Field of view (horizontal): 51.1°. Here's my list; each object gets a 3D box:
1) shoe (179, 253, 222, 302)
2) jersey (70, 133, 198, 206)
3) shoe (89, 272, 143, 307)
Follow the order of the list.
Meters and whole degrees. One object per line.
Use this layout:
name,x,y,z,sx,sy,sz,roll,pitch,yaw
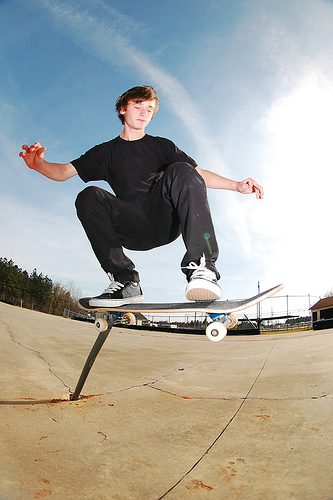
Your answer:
shoe,0.194,0.143,2.172,0.163,0.215,0.487,0,16,-5
jersey,-0.254,-0.699,3.102,1.356,0.667,0.354,-3,34,-7
shoe,-0.369,0.300,2.583,0.453,0.242,0.179,1,-17,-41
